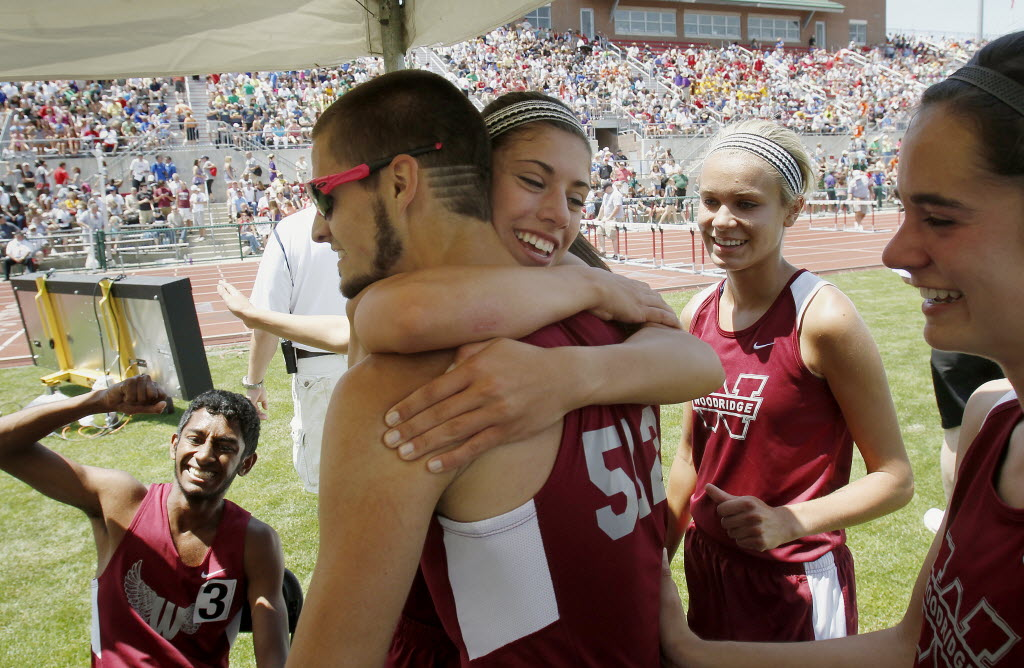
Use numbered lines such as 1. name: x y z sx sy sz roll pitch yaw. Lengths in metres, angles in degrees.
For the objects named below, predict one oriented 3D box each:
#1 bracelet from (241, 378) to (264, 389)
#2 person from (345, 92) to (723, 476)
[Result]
1. bracelet: -1.773 0.339 5.320 0.126 0.057 0.142 -1 4 -42
2. person: 0.028 -0.228 2.615 1.358 1.157 0.810 4 14 -30
